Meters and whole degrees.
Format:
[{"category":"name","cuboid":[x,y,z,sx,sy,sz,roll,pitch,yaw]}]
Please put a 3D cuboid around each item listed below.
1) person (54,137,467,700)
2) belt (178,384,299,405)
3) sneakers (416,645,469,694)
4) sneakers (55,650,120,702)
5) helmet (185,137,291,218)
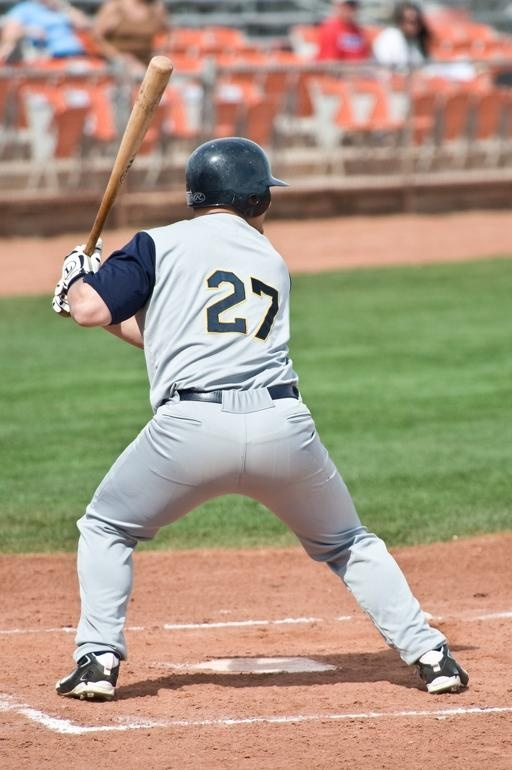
[{"category":"person","cuboid":[-0.058,0.105,2.640,0.981,1.496,0.584,3,12,-10]},{"category":"belt","cuboid":[-0.023,0.019,2.476,0.326,0.046,0.101,0,10,-24]},{"category":"sneakers","cuboid":[0.499,0.760,2.642,0.082,0.087,0.208,-24,-10,6]},{"category":"sneakers","cuboid":[-0.425,0.746,2.525,0.088,0.105,0.234,10,-11,-35]},{"category":"helmet","cuboid":[-0.058,-0.583,2.738,0.297,0.175,0.203,-7,13,-18]}]
